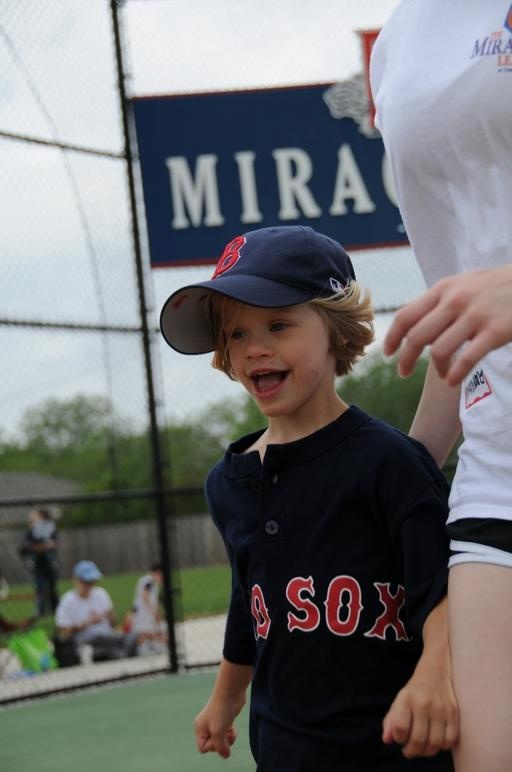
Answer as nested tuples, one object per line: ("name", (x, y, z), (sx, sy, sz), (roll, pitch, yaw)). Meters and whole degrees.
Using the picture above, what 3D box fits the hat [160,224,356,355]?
("hat", (0.028, -0.142, 1.333), (0.309, 0.173, 0.191), (12, -25, -33))
